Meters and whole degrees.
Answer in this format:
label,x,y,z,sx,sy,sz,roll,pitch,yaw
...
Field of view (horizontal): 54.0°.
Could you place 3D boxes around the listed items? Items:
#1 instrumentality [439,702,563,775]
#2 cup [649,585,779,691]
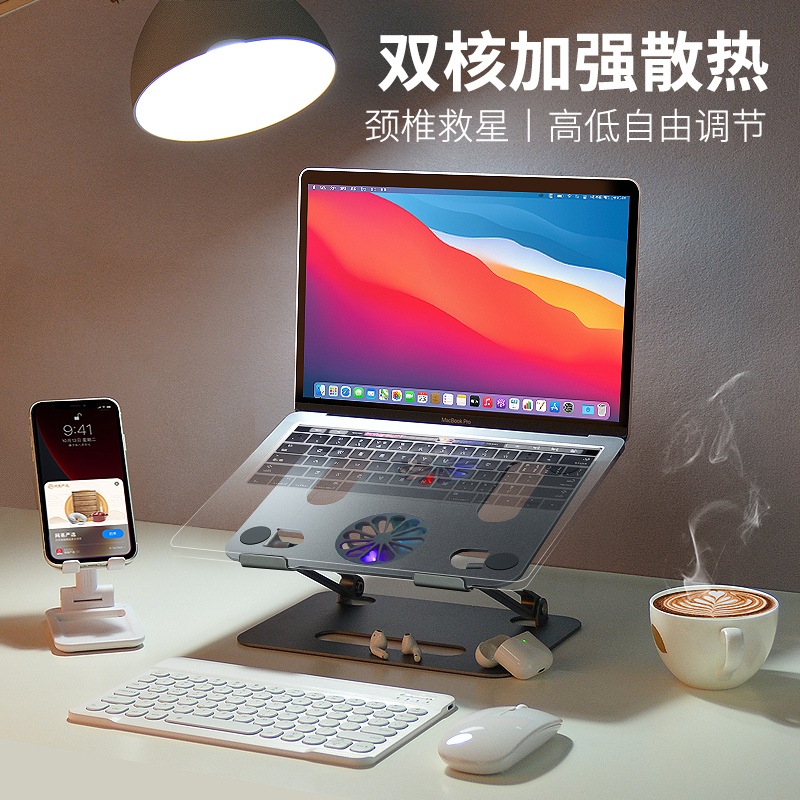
label,x,y,z,sx,sy,sz,roll,pitch,yaw
instrumentality,0.075,0.243,0.571,0.051,0.027,0.107,2,3,37
cup,0.281,0.219,0.700,0.115,0.073,0.139,-4,1,13
